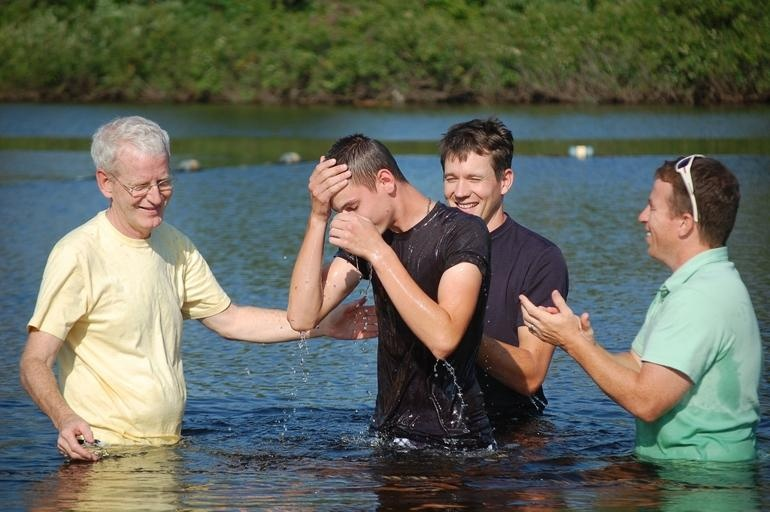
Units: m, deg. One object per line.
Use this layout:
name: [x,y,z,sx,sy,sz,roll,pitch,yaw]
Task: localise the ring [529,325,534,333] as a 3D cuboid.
ring: [2.199,1.061,22.698,0.040,0.101,0.085,-13,12,-22]
